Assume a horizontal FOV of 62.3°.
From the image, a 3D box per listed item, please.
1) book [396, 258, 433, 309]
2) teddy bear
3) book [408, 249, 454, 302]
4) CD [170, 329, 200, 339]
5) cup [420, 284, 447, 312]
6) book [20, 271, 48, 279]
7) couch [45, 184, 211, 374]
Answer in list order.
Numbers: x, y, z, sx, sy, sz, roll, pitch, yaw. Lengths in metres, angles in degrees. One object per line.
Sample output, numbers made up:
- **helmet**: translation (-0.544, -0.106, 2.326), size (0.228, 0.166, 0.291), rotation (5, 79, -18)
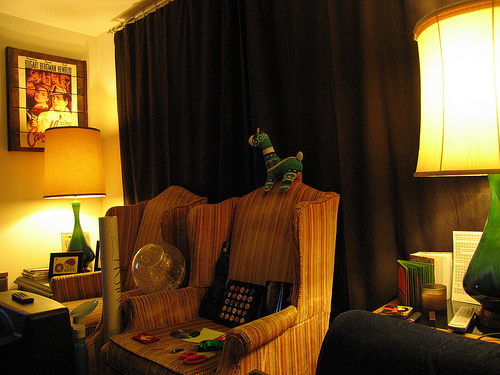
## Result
- **book**: translation (0.779, 0.455, 1.972), size (0.173, 0.197, 0.157), rotation (-1, 1, -41)
- **teddy bear**: translation (0.163, -0.169, 2.474), size (0.344, 0.415, 0.180), rotation (-8, -10, 20)
- **book**: translation (0.924, 0.440, 2.095), size (0.192, 0.277, 0.189), rotation (-1, -4, 35)
- **CD**: translation (-0.332, 0.753, 2.144), size (0.152, 0.030, 0.108), rotation (-3, 0, -10)
- **cup**: translation (0.838, 0.497, 1.883), size (0.110, 0.102, 0.101), rotation (2, -7, 0)
- **book**: translation (-1.722, 0.709, 3.355), size (0.103, 0.038, 0.104), rotation (4, -4, -36)
- **couch**: translation (-0.898, 0.594, 3.175), size (1.017, 1.632, 1.018), rotation (7, -11, -42)
